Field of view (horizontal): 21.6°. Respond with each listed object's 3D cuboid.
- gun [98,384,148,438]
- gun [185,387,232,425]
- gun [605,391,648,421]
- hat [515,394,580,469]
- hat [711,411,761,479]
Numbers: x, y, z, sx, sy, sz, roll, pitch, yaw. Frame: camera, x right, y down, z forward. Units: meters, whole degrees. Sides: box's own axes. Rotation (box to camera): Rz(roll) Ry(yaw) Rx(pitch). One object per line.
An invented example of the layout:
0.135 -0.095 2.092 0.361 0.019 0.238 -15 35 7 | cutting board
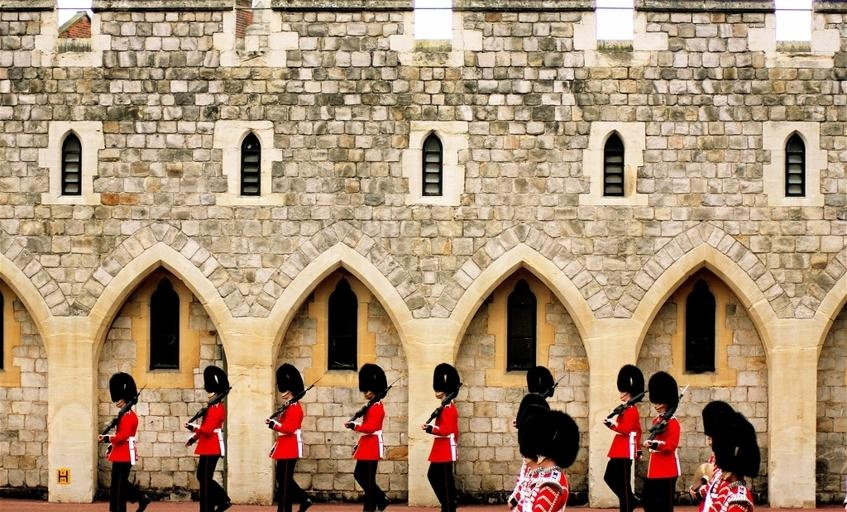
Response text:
-5.249 2.767 38.718 0.833 1.027 0.508 3 -4 -5 | gun
-3.729 2.667 39.130 0.862 0.167 0.299 -34 31 7 | gun
3.486 2.605 38.691 0.827 0.059 0.191 -34 24 1 | gun
2.025 2.828 35.529 0.831 1.118 0.653 1 8 4 | hat
4.943 3.063 35.731 0.603 1.088 0.633 -1 -2 -26 | hat
